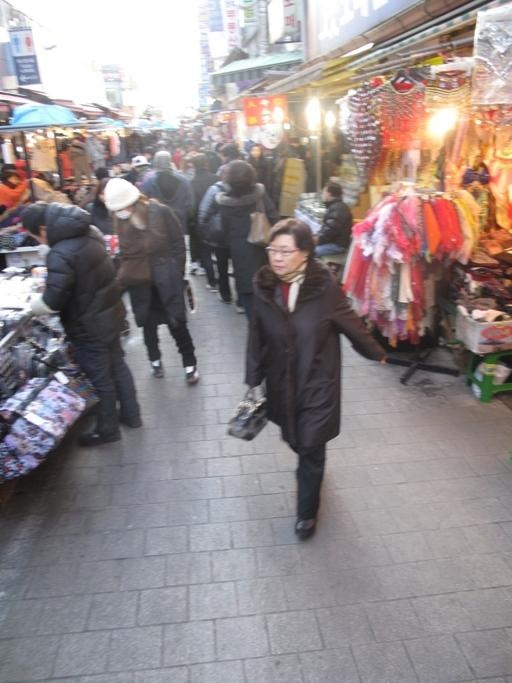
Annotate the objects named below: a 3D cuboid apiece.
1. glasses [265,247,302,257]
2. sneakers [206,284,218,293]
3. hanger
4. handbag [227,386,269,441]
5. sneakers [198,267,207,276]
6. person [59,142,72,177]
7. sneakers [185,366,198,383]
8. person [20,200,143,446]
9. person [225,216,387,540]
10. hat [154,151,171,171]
[{"bbox_3d":[0.140,-0.447,2.370,0.101,0.028,0.102,7,7,36],"label":"glasses"},{"bbox_3d":[-0.762,-0.914,8.084,0.085,0.103,0.253,-25,37,-35],"label":"sneakers"},{"bbox_3d":[1.452,-2.526,4.558,0.502,0.336,1.538,-12,25,-13],"label":"hanger"},{"bbox_3d":[-0.075,0.407,2.812,0.229,0.298,0.107,23,6,-33],"label":"handbag"},{"bbox_3d":[-1.032,-1.323,9.128,0.165,0.137,0.260,-3,-5,8],"label":"sneakers"},{"bbox_3d":[-4.193,-4.031,10.628,0.255,0.739,1.446,-14,25,-15],"label":"person"},{"bbox_3d":[-0.653,0.335,4.844,0.083,0.092,0.220,-2,5,-1],"label":"sneakers"},{"bbox_3d":[-1.224,-0.082,3.532,0.650,1.832,0.368,-22,29,-29],"label":"person"},{"bbox_3d":[0.215,0.214,2.663,0.662,1.714,0.646,15,33,38],"label":"person"},{"bbox_3d":[-1.199,-2.343,6.178,0.225,0.289,0.273,-7,49,-9],"label":"hat"}]
